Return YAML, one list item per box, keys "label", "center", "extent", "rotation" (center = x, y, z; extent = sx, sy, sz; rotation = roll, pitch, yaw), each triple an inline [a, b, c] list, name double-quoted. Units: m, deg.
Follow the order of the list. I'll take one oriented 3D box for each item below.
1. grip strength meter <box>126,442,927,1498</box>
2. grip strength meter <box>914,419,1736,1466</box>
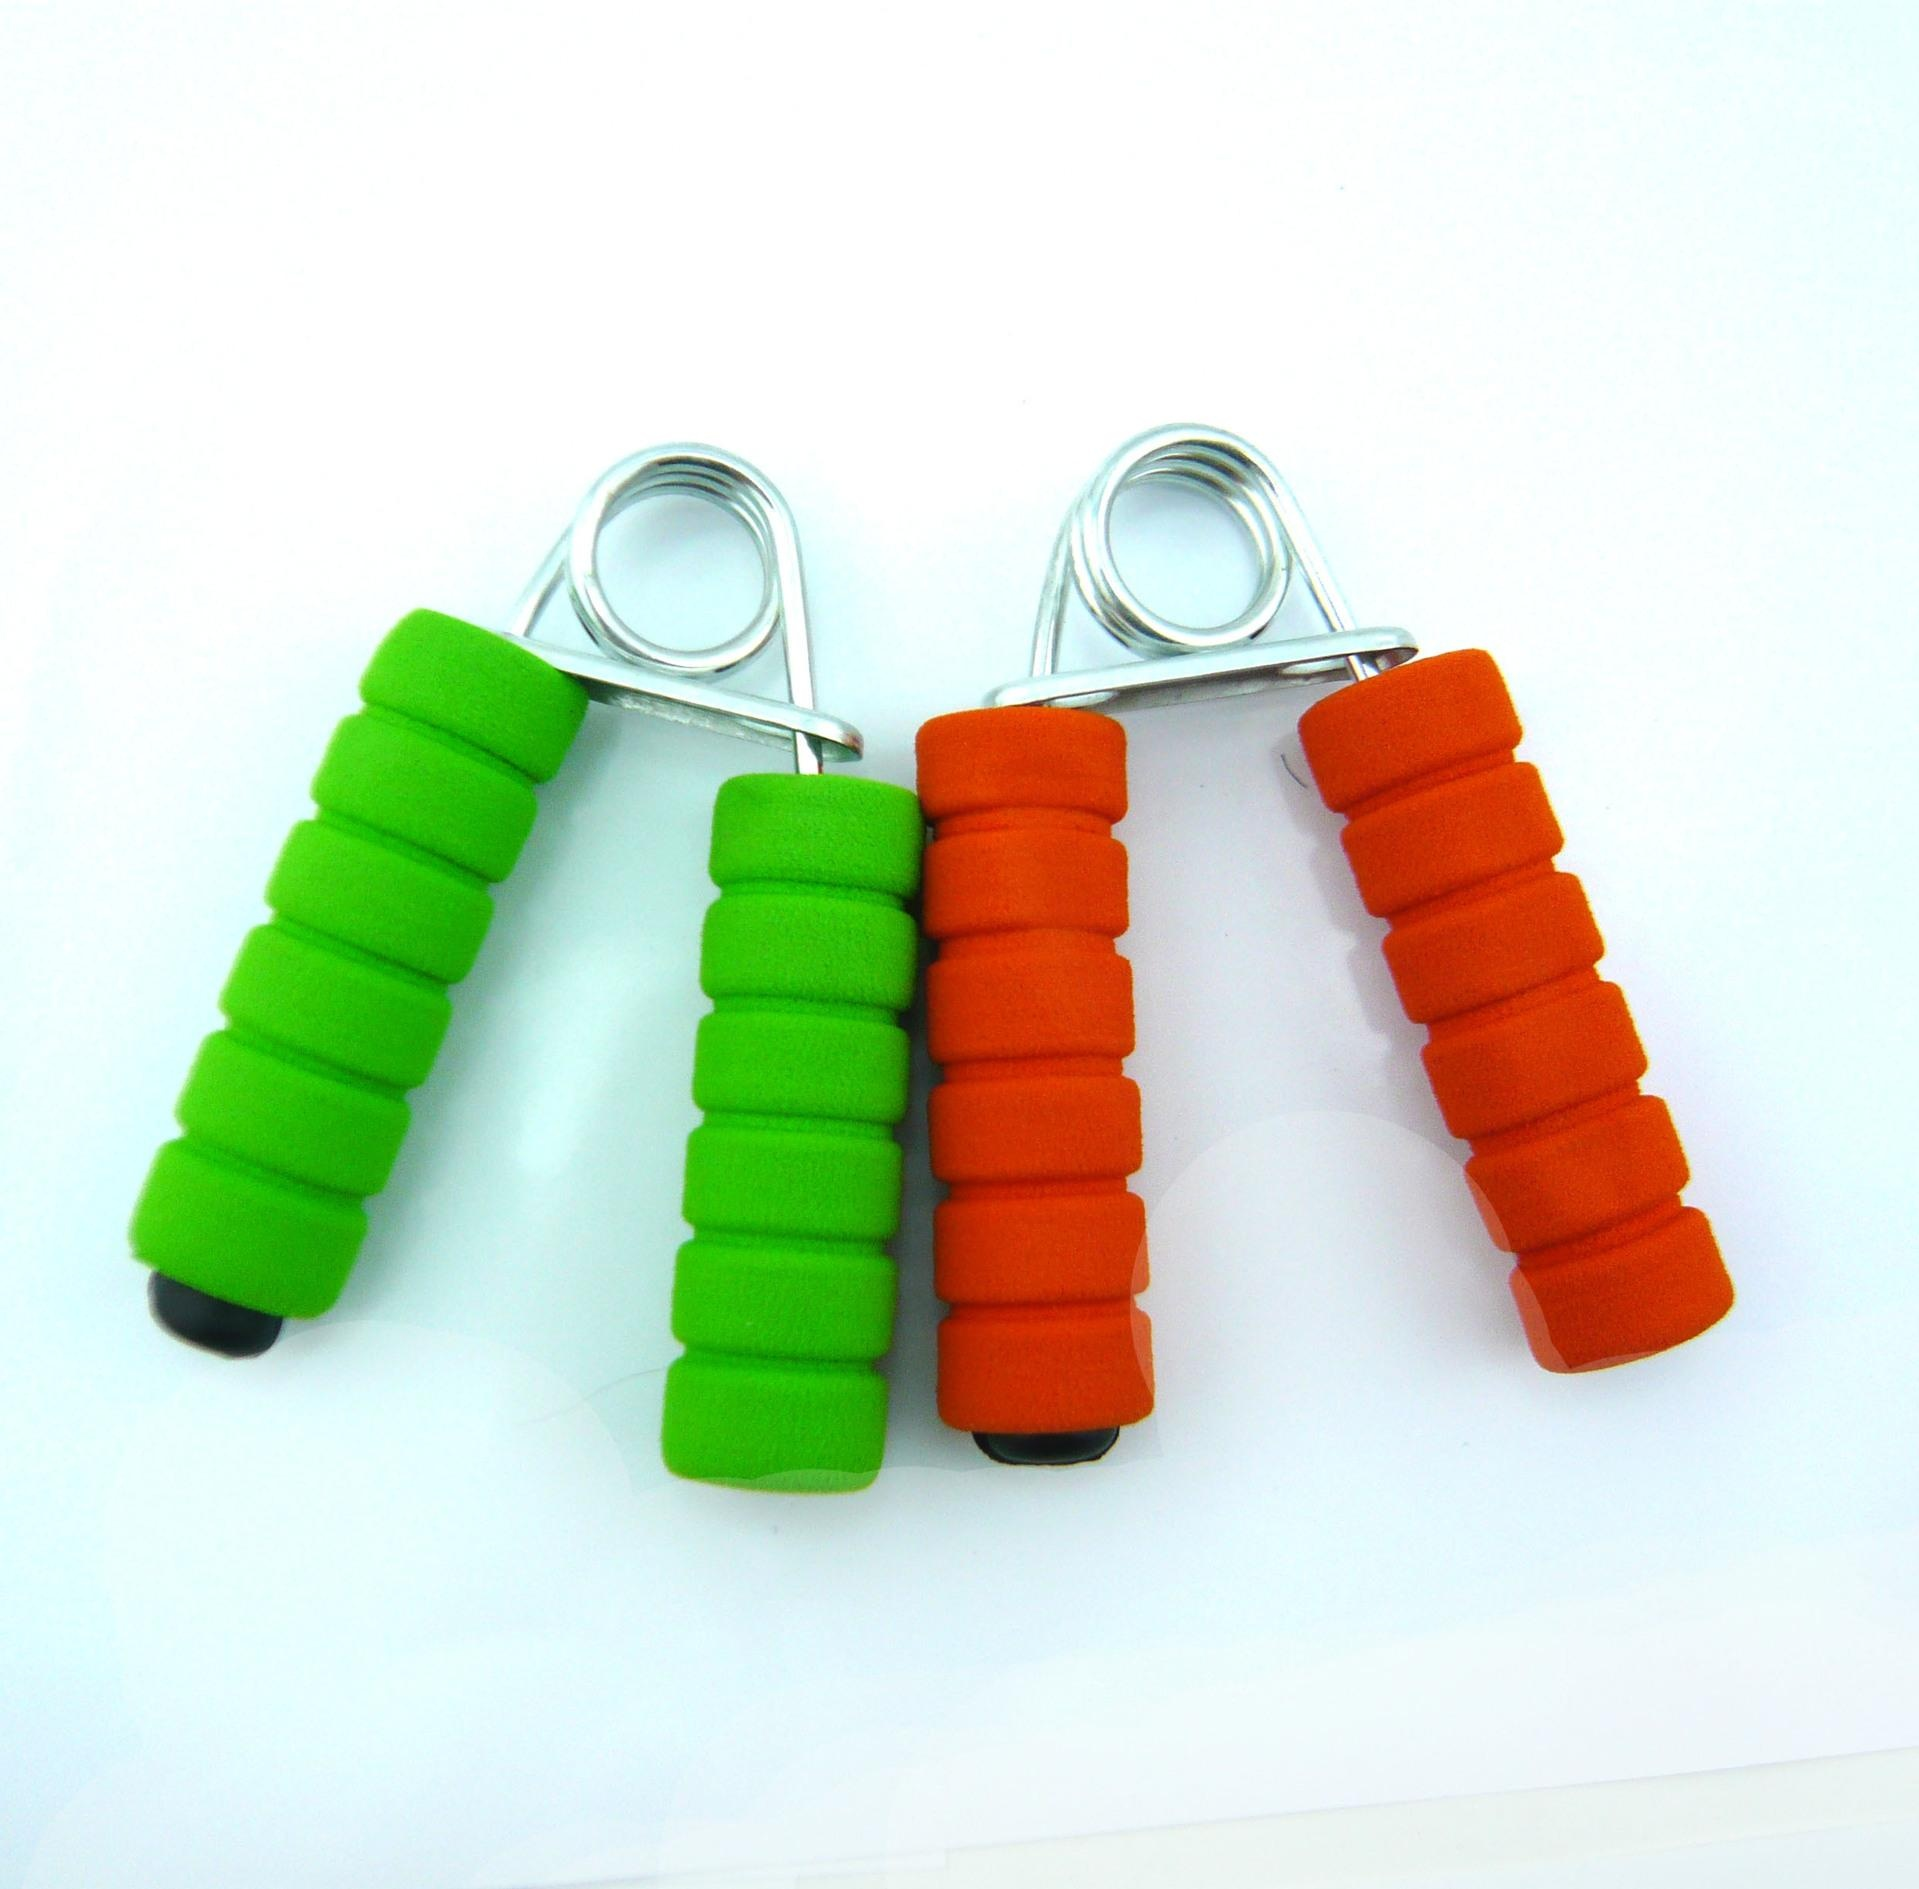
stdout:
- label: "grip strength meter"
  center: [-0.162, 0.011, 0.815]
  extent: [0.386, 0.374, 0.101]
  rotation: [11, -7, 3]
- label: "grip strength meter"
  center: [0.130, -0.016, 0.747]
  extent: [0.406, 0.381, 0.111]
  rotation: [-7, -7, -2]
